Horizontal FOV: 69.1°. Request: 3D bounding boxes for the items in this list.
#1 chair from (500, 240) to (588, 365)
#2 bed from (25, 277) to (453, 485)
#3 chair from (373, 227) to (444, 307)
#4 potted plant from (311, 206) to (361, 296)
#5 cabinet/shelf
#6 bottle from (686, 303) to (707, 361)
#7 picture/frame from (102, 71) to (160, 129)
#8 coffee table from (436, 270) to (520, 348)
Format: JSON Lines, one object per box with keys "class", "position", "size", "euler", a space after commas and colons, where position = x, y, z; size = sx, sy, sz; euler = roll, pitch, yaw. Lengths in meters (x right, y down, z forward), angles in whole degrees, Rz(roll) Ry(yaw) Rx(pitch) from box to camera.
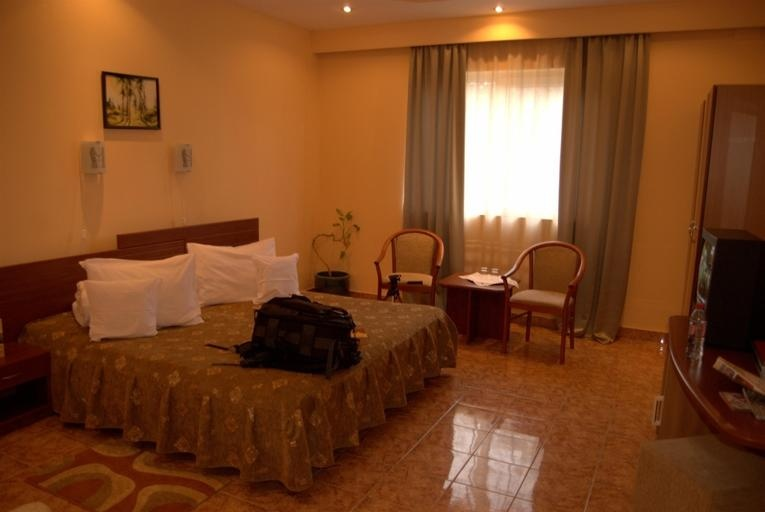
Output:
{"class": "chair", "position": [1.680, 0.406, 5.831], "size": [0.764, 1.093, 0.948], "euler": [5, 12, 21]}
{"class": "bed", "position": [-1.125, 0.977, 4.360], "size": [3.182, 0.824, 1.675], "euler": [2, 11, 2]}
{"class": "chair", "position": [0.324, 0.212, 6.270], "size": [0.709, 0.996, 0.609], "euler": [4, 8, 17]}
{"class": "potted plant", "position": [-0.607, -0.022, 7.034], "size": [0.557, 1.125, 0.535], "euler": [3, 9, -2]}
{"class": "cabinet/shelf", "position": [1.964, 0.855, 3.581], "size": [0.208, 0.658, 0.680], "euler": [-8, 15, 4]}
{"class": "bottle", "position": [2.052, 0.477, 3.633], "size": [0.097, 0.319, 0.334], "euler": [8, 13, 30]}
{"class": "picture/frame", "position": [-2.261, -1.393, 4.938], "size": [0.053, 0.457, 0.527], "euler": [8, 12, 31]}
{"class": "coffee table", "position": [1.042, 0.586, 6.056], "size": [0.773, 0.594, 0.778], "euler": [3, 4, 8]}
